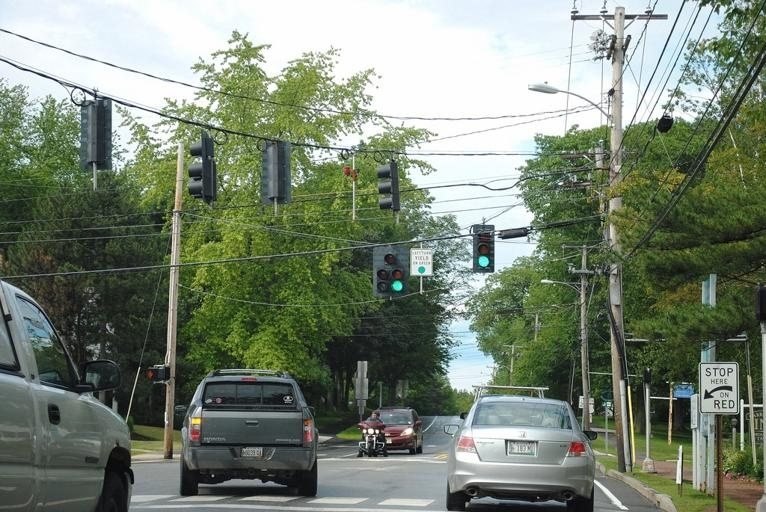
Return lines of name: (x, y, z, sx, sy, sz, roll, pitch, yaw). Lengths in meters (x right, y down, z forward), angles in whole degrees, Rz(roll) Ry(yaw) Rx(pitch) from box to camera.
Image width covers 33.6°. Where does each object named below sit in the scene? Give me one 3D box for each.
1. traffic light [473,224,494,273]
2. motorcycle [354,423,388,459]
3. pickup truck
traffic light: (3.509, -0.316, 44.192, 0.714, 1.532, 1.250, 1, -9, 0)
motorcycle: (-0.421, 7.401, 51.548, 1.132, 1.438, 1.131, 0, -9, 6)
pickup truck: (-3.738, 4.877, 35.400, 3.651, 3.547, 1.307, 2, -9, -7)
